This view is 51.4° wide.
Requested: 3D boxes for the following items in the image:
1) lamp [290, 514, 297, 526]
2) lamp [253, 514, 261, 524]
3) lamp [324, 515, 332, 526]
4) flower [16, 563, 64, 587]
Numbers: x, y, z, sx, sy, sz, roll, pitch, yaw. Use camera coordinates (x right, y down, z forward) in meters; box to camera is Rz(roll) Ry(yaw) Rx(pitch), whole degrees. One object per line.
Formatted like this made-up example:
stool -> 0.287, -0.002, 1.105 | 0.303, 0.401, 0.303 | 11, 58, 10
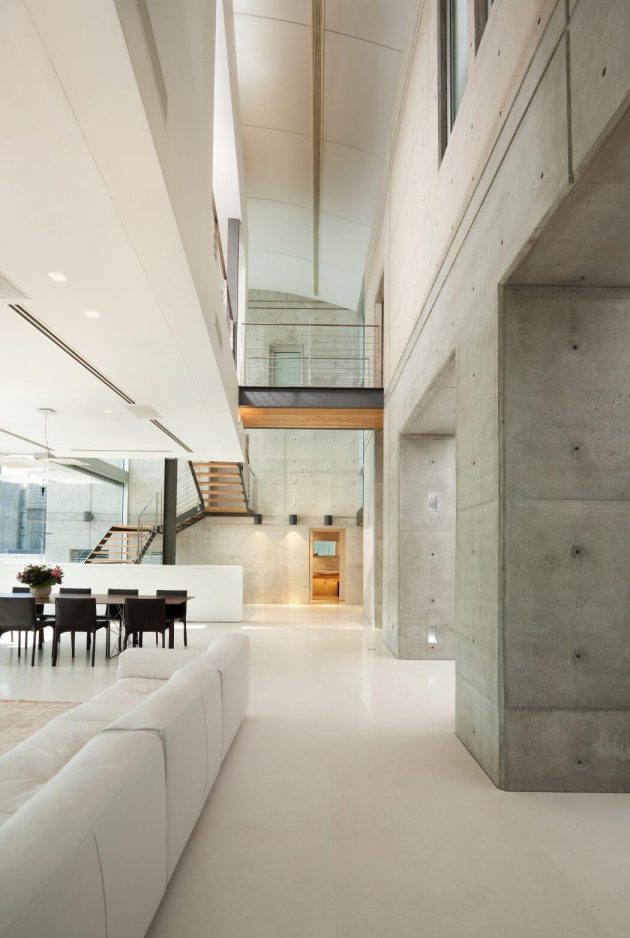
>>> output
lamp -> -0.459, 1.091, 14.227 | 0.161, 0.217, 0.200 | 1, -6, -2
lamp -> -1.234, 1.075, 14.228 | 0.158, 0.221, 0.178 | -1, 0, 6
lamp -> 0.321, 1.100, 14.205 | 0.196, 0.240, 0.182 | 2, -7, -12
flower -> -3.228, 1.263, 7.870 | 0.324, 0.238, 0.338 | 2, -1, 0
